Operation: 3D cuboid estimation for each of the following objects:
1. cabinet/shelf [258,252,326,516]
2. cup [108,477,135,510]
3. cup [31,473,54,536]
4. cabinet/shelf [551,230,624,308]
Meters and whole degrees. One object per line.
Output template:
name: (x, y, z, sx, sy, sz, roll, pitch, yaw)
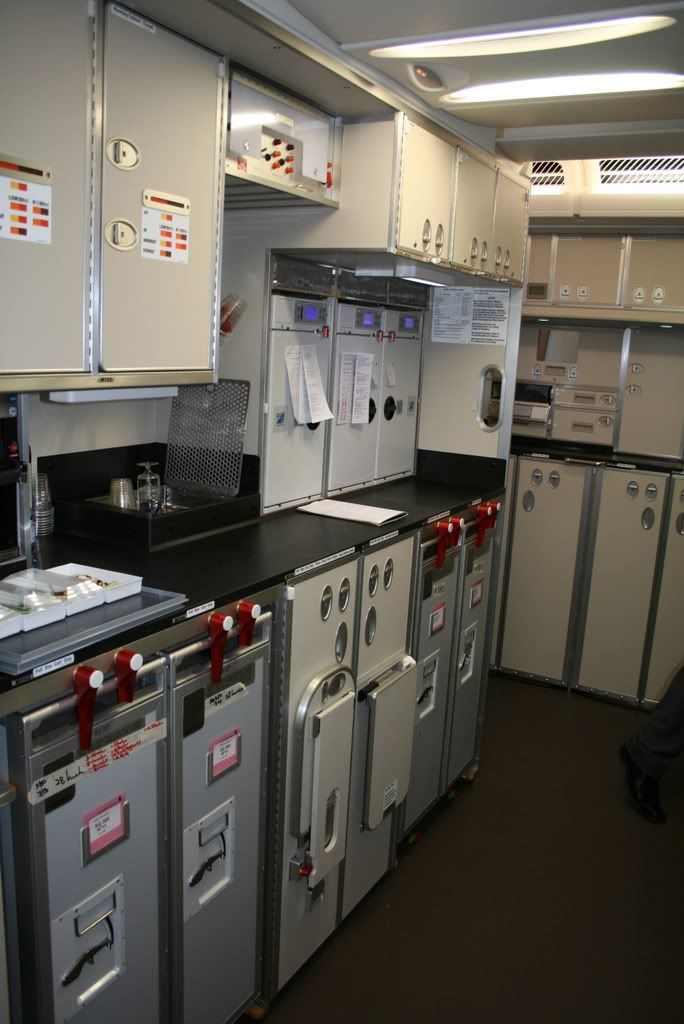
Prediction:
cabinet/shelf: (-0.122, -0.398, 2.199, 0.119, 0.785, 0.396, 5, 8, 19)
cup: (-0.580, -0.045, 1.844, 0.065, 0.076, 0.205, 0, 9, -18)
cup: (-0.739, -0.012, 1.712, 0.044, 0.146, 0.059, -1, 8, -26)
cabinet/shelf: (1.308, -1.286, 3.642, 0.310, 0.368, 0.174, 10, 12, 31)
